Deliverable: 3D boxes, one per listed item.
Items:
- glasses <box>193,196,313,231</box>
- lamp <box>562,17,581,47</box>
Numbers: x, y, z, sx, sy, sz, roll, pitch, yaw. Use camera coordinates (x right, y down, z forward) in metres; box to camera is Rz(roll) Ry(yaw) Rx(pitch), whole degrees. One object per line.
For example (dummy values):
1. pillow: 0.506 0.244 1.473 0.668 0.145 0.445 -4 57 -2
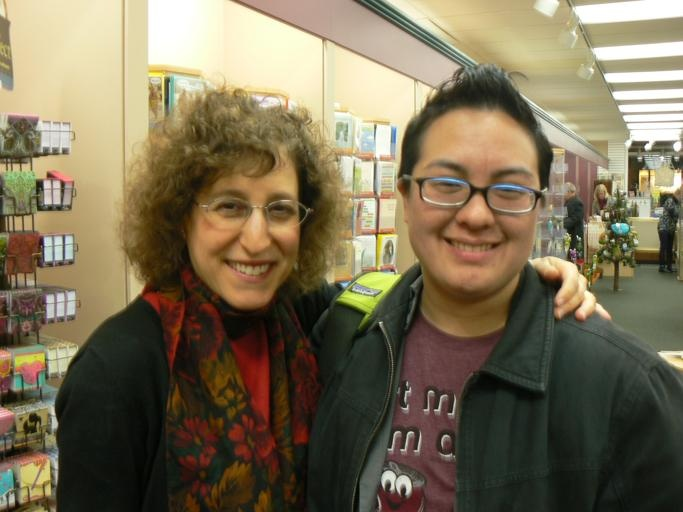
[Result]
1. glasses: -0.291 -0.138 1.696 0.312 0.102 0.096 -3 9 -17
2. lamp: 2.647 -2.655 6.328 0.143 0.325 0.608 4 10 26
